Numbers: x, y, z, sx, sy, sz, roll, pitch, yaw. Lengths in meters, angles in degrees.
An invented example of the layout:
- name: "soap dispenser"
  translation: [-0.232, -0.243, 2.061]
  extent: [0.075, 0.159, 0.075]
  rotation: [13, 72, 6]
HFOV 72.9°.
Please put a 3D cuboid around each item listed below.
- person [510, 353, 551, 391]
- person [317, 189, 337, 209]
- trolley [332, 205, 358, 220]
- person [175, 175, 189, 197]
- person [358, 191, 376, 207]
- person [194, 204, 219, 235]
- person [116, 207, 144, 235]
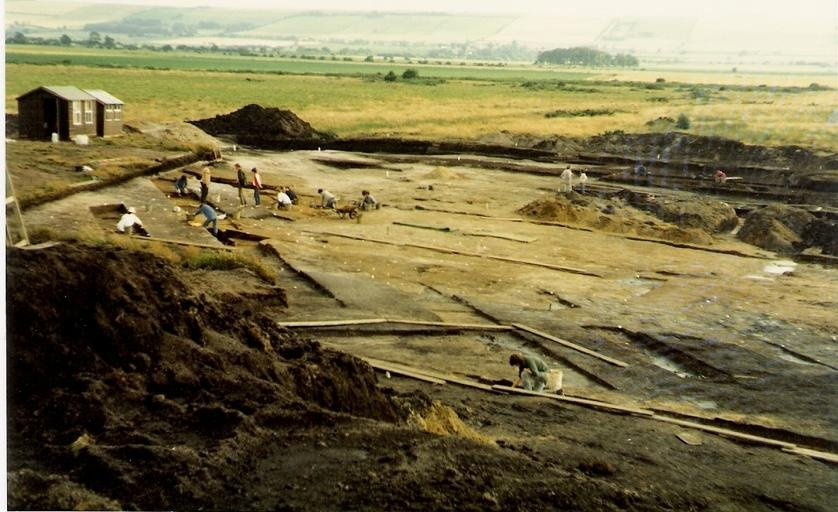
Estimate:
- name: "person"
  translation: [2.327, 2.465, 11.995]
  extent: [0.830, 0.732, 0.492]
  rotation: [7, 17, 10]
- name: "person"
  translation: [-3.872, -2.373, 24.024]
  extent: [0.462, 0.712, 1.269]
  rotation: [-3, 15, -24]
- name: "trolley"
  translation: [-2.969, -1.793, 23.223]
  extent: [0.699, 0.385, 0.995]
  rotation: [2, -21, -8]
- name: "person"
  translation: [-9.890, -2.944, 23.583]
  extent: [0.402, 0.762, 0.951]
  rotation: [-1, 16, -19]
- name: "person"
  translation: [-2.221, -2.381, 24.228]
  extent: [0.640, 0.749, 0.978]
  rotation: [7, 15, 10]
- name: "person"
  translation: [-6.982, -1.245, 18.847]
  extent: [0.488, 1.065, 1.888]
  rotation: [-1, 15, -18]
- name: "person"
  translation: [-8.918, -1.012, 17.467]
  extent: [1.057, 0.414, 0.975]
  rotation: [1, 38, -16]
